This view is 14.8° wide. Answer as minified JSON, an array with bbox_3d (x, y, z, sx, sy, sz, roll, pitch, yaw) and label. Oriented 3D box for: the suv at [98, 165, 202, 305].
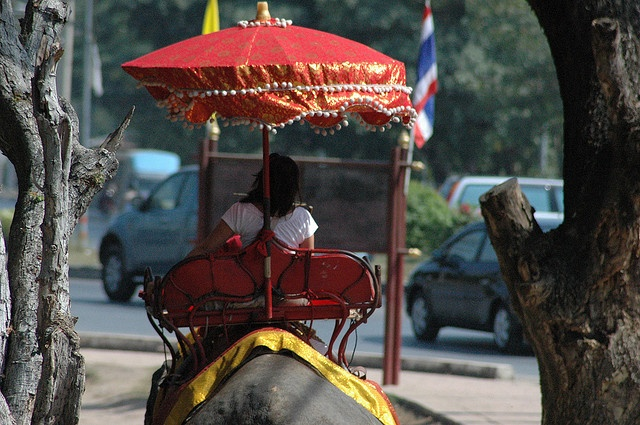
[{"bbox_3d":[-4.158,0.552,61.752,2.172,3.453,3.718,-1,23,2],"label":"suv"}]
